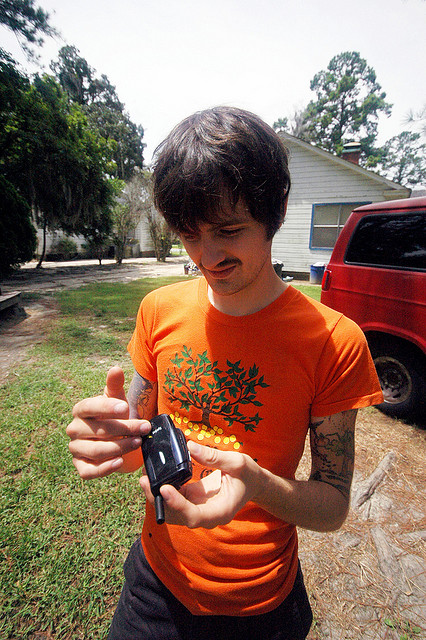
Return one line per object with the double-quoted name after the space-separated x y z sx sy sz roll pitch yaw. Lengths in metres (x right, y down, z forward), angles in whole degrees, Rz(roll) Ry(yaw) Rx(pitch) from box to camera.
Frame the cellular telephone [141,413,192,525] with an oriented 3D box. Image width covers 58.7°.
-0.120 0.386 1.033 0.133 0.065 0.257 -18 47 4 "cellular telephone"
